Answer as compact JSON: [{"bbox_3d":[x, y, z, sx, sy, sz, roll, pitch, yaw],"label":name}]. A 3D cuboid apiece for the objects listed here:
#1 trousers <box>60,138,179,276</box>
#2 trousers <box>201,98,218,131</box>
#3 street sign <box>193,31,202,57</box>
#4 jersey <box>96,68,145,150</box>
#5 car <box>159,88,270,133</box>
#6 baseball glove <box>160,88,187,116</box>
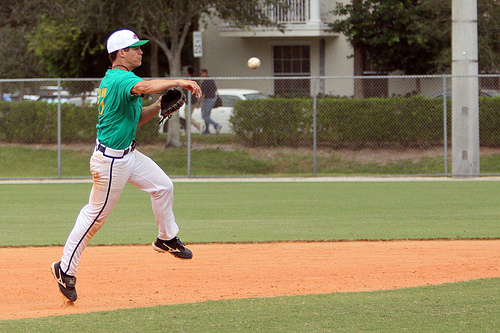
[{"bbox_3d":[-2.856,0.865,21.045,2.408,2.927,0.526,-1,3,-6],"label":"trousers"},{"bbox_3d":[-1.401,-1.676,32.356,0.642,1.413,0.521,6,-30,-3],"label":"trousers"},{"bbox_3d":[-1.733,-3.935,31.546,0.220,0.773,0.300,-1,3,5],"label":"street sign"},{"bbox_3d":[-2.802,-1.209,20.795,0.975,1.733,0.518,-1,3,-8],"label":"jersey"},{"bbox_3d":[-1.391,-2.070,34.261,3.151,1.418,1.800,2,4,4],"label":"car"},{"bbox_3d":[-1.702,-1.370,21.119,0.533,0.580,0.253,-1,3,-6],"label":"baseball glove"}]
